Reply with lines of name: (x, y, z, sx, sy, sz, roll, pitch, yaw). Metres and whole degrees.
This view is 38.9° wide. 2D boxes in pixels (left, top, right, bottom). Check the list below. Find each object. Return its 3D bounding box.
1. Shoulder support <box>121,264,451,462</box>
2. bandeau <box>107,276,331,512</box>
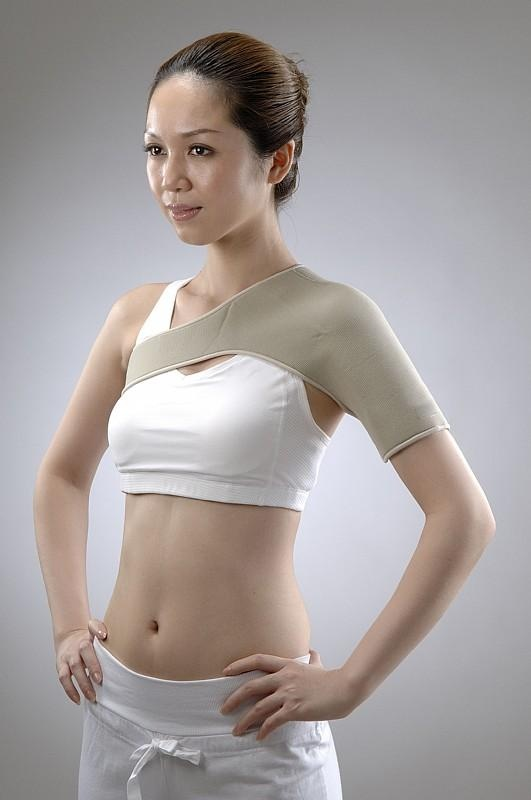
Shoulder support: (-0.030, -0.041, 1.017, 0.558, 0.254, 0.171, -2, -5, 31)
bandeau: (-0.055, -0.025, 1.005, 0.283, 0.310, 0.200, 5, -5, 28)
